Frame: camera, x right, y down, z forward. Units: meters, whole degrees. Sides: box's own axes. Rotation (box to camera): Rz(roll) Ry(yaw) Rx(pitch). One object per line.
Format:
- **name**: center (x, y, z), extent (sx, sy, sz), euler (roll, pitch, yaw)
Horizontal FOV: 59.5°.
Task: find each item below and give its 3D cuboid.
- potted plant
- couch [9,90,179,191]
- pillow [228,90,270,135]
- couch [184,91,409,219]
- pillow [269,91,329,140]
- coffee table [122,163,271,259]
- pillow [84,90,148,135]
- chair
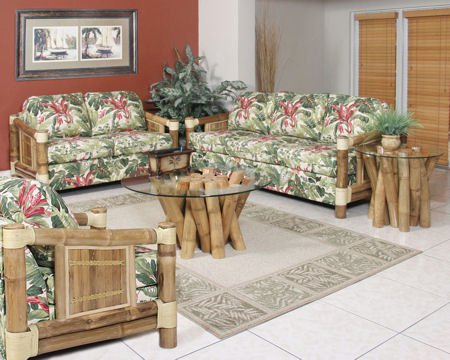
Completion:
- **potted plant**: center (1.592, -0.460, 3.876), extent (0.527, 0.244, 0.370), euler (-6, -1, 9)
- **couch**: center (-1.724, -0.590, 5.266), extent (1.953, 0.804, 1.014), euler (-12, 41, -31)
- **pillow**: center (0.447, -0.938, 5.495), extent (0.735, 0.542, 0.224), euler (11, 6, 40)
- **couch**: center (0.696, -0.494, 4.996), extent (0.993, 0.919, 2.475), euler (-29, 30, -32)
- **pillow**: center (1.018, -0.796, 5.050), extent (0.983, 0.691, 0.210), euler (21, 28, 39)
- **coffee table**: center (-0.096, 0.236, 3.267), extent (1.130, 0.397, 0.958), euler (-1, -8, -24)
- **pillow**: center (-1.533, -0.964, 5.434), extent (0.967, 0.600, 0.241), euler (-9, -8, -35)
- **chair**: center (-0.641, 0.423, 1.971), extent (0.846, 0.502, 0.827), euler (-6, 10, -43)
